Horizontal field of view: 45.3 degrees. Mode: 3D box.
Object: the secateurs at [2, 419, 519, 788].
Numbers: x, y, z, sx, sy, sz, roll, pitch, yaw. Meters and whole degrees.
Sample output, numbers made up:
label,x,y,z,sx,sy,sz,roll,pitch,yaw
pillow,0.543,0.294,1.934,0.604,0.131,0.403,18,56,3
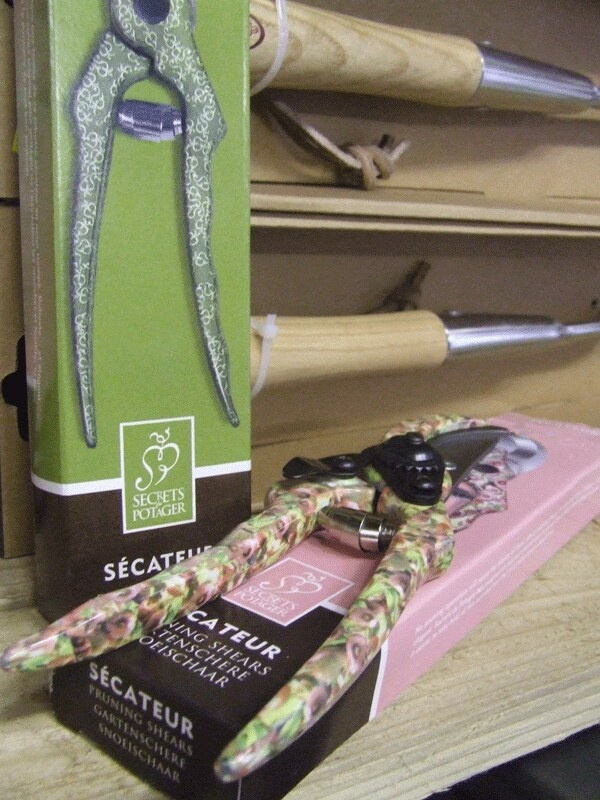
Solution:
label,x,y,z,sx,sy,sz,roll,pitch,yaw
secateurs,0.040,0.060,0.388,0.099,0.049,0.326,21,29,35
